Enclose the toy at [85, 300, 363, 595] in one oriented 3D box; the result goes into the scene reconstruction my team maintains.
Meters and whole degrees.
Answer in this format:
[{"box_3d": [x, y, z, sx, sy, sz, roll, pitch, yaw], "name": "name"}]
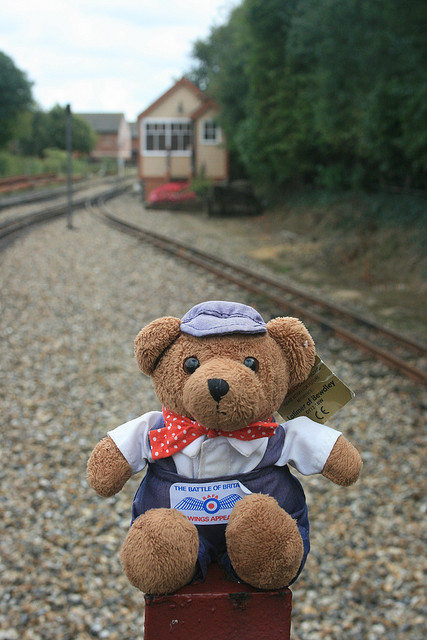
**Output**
[{"box_3d": [0.073, 0.648, 2.438, 1.061, 1.261, 1.072, 1, 16, -2], "name": "toy"}]
